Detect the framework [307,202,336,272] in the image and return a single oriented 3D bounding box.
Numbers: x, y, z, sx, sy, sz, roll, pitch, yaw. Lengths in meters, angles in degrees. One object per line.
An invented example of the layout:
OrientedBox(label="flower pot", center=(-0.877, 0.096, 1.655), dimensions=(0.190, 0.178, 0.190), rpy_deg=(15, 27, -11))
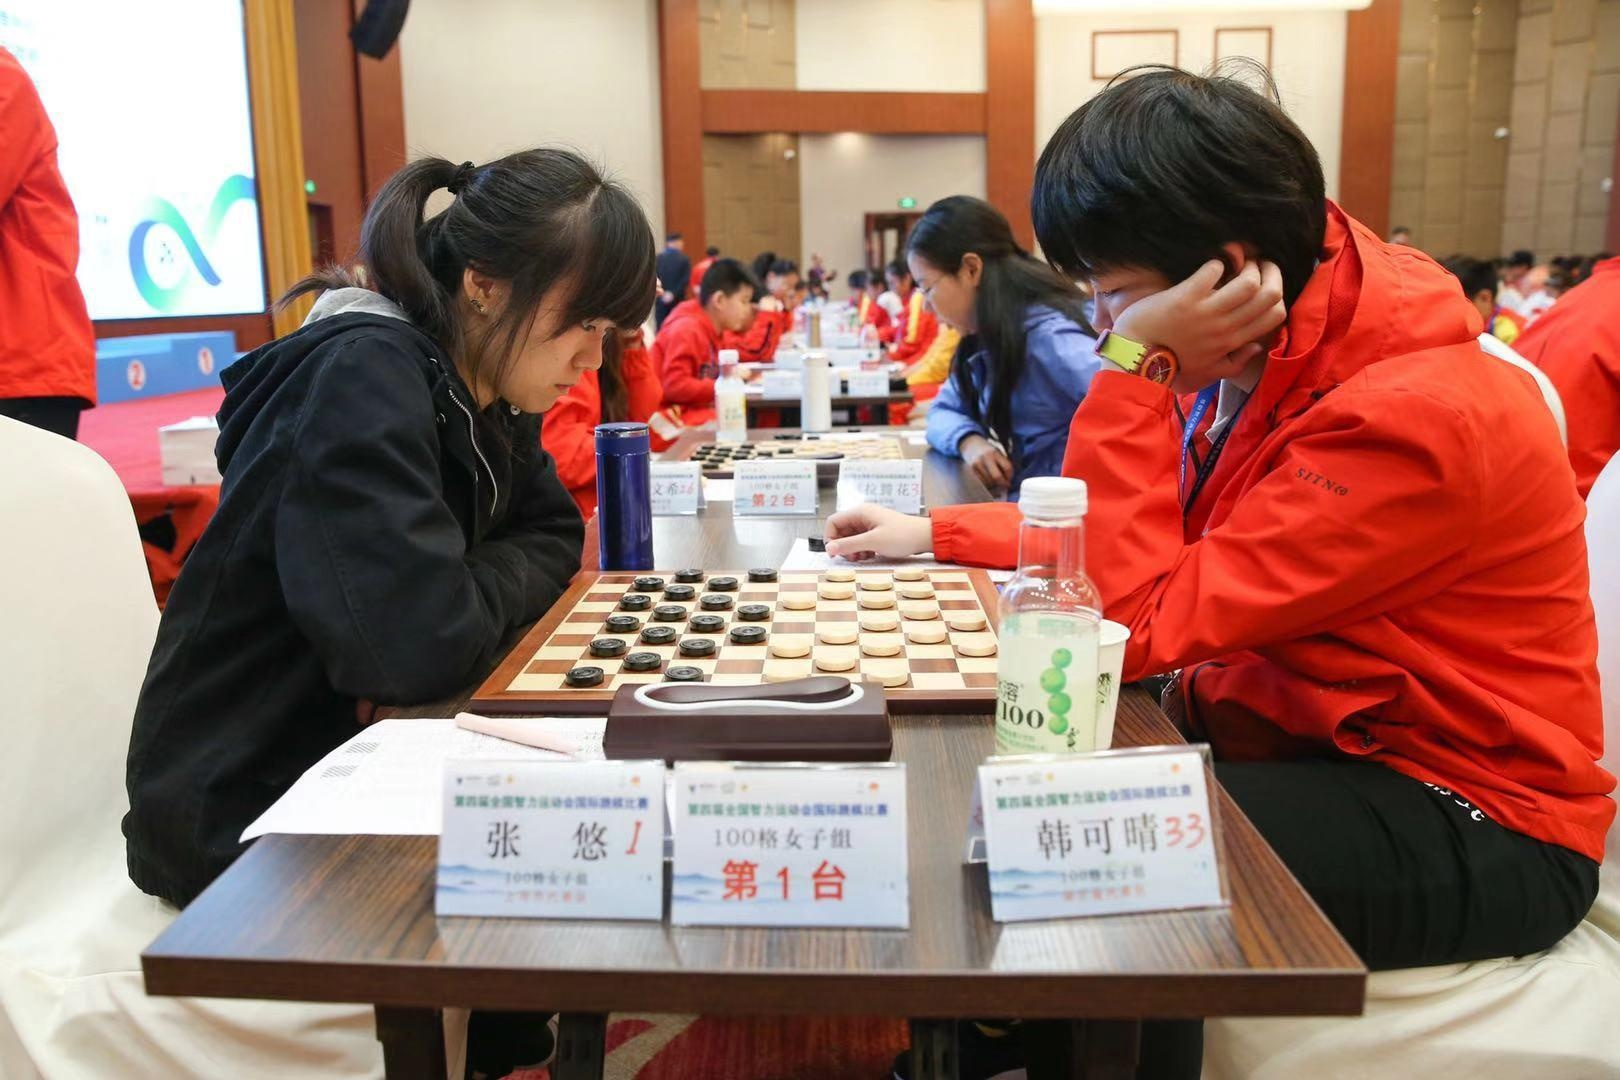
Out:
OrientedBox(label="framework", center=(-3.113, -1.914, 7.442), dimensions=(0.229, 0.402, 0.133), rpy_deg=(1, 4, -2))

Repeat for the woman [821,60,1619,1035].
OrientedBox(label="woman", center=(0.703, 0.039, 2.177), dimensions=(1.141, 1.633, 0.762), rpy_deg=(-2, -2, 8))

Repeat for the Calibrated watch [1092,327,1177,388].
OrientedBox(label="Calibrated watch", center=(0.425, -0.242, 1.571), dimensions=(0.099, 0.060, 0.100), rpy_deg=(15, 10, -8))

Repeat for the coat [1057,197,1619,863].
OrientedBox(label="coat", center=(0.640, 0.010, 1.929), dimensions=(0.818, 1.043, 0.796), rpy_deg=(-3, 1, 15))

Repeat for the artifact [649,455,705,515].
OrientedBox(label="artifact", center=(-0.271, -0.106, 2.376), dimensions=(0.166, 0.139, 0.064), rpy_deg=(-1, 7, 1))
